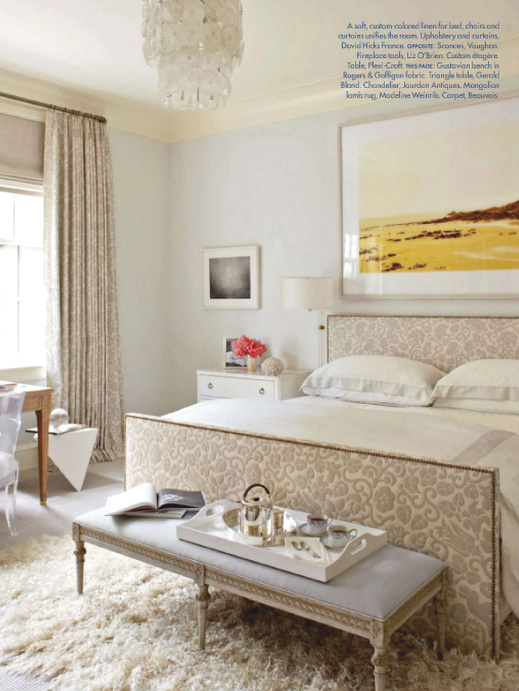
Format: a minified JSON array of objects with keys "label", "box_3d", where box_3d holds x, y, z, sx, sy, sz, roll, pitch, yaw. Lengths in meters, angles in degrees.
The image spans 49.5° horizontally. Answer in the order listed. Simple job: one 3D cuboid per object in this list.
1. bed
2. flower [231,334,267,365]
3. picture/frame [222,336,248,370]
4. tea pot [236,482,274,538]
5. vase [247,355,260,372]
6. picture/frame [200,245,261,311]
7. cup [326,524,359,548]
[{"label":"bed","box_3d":[0.649,0.430,2.704,1.513,0.939,1.532,3,6,37]},{"label":"flower","box_3d":[-0.083,0.047,4.779,0.254,0.253,0.250,2,-2,-8]},{"label":"picture/frame","box_3d":[-0.205,0.071,4.842,0.289,0.314,0.031,-3,-6,30]},{"label":"tea pot","box_3d":[-0.012,0.551,1.863,0.103,0.190,0.185,0,-2,2]},{"label":"vase","box_3d":[-0.050,0.162,4.738,0.133,0.189,0.120,2,-2,2]},{"label":"picture/frame","box_3d":[-0.238,-0.610,5.093,0.624,0.537,0.067,2,3,37]},{"label":"cup","box_3d":[0.251,0.588,1.732,0.069,0.049,0.052,2,-1,-10]}]
